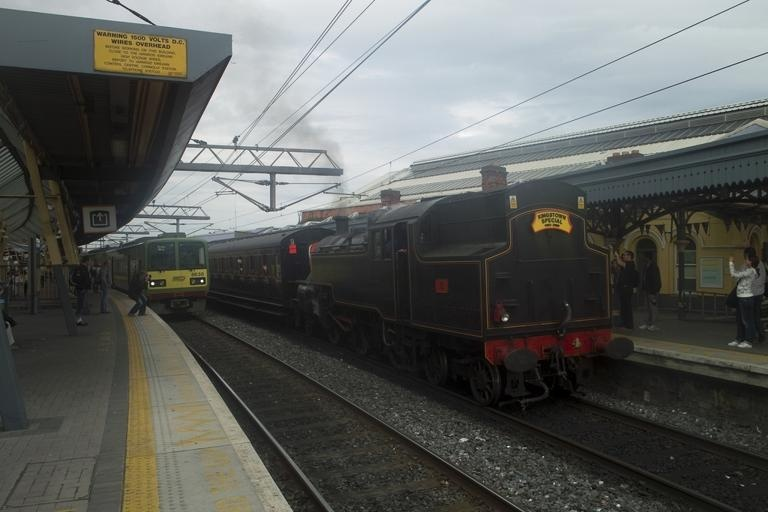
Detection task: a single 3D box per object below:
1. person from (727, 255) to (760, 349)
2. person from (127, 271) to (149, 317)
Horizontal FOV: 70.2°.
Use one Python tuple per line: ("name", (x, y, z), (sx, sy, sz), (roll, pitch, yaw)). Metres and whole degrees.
("person", (8.591, 1.066, 13.202), (0.622, 2.190, 1.433), (5, 10, 33))
("person", (-9.458, 1.484, 21.078), (0.729, 1.755, 1.356), (-5, 9, -24))
